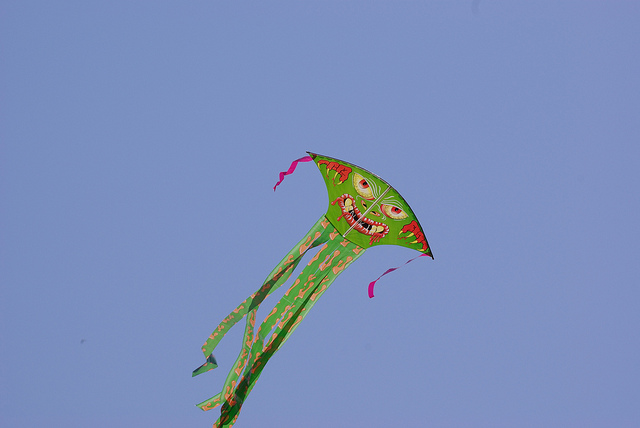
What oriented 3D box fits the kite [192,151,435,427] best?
[{"bbox_3d":[-0.218,0.669,8.928,1.703,2.625,0.211,43,7,-1],"label":"kite"}]
